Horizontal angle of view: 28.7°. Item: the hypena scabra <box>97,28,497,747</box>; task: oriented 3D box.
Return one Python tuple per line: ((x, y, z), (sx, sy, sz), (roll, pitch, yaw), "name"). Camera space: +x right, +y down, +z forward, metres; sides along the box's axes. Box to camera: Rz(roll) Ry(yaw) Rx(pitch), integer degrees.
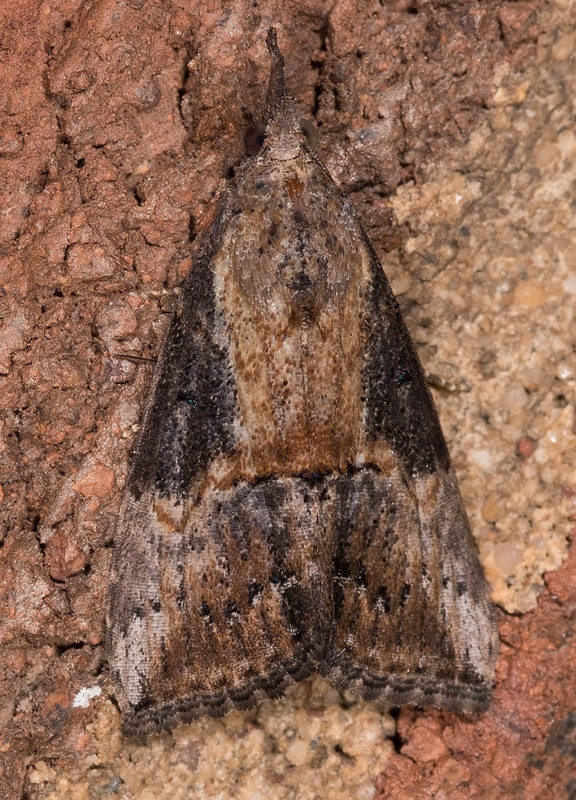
((-0.038, -0.038, 4.648), (1.714, 0.497, 3.068), (-2, 93, -7), "hypena scabra")
